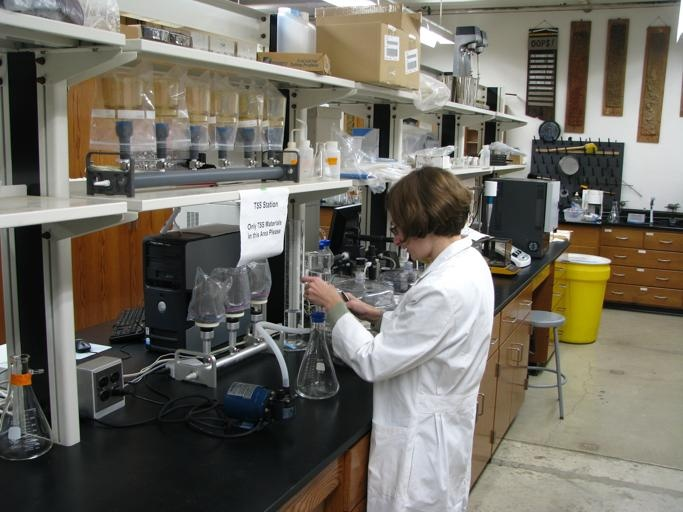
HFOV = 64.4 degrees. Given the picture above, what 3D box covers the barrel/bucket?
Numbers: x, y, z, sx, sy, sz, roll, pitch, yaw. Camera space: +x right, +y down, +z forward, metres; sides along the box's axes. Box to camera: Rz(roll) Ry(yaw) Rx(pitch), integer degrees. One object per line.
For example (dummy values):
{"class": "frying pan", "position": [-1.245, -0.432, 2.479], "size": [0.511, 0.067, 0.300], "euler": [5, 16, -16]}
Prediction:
{"class": "barrel/bucket", "position": [2.155, 0.409, 4.931], "size": [0.462, 0.835, 0.211], "euler": [4, 13, 14]}
